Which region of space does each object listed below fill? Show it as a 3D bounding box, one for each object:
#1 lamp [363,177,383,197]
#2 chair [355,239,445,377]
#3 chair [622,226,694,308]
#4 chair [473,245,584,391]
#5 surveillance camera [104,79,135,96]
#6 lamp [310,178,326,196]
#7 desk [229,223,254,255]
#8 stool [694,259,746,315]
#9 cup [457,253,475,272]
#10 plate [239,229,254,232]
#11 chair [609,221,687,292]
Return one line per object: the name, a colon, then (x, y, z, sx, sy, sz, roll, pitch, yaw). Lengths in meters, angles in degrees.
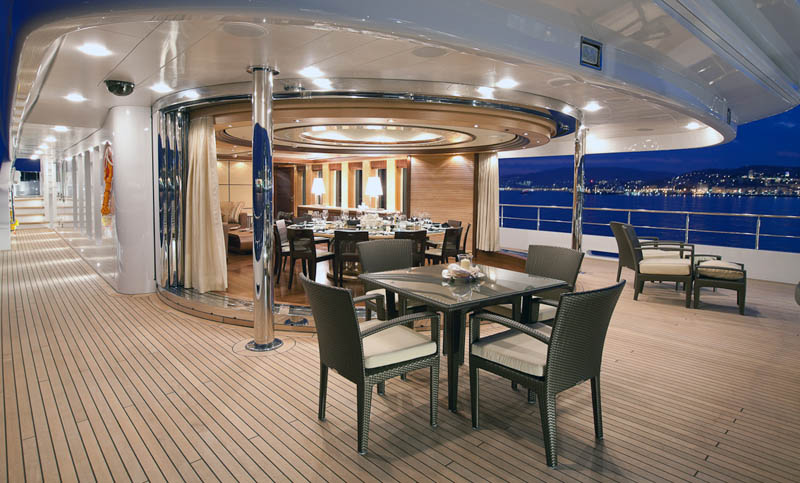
lamp: (-0.647, -1.434, 11.993, 0.592, 0.478, 0.550, -2, 9, 3)
chair: (-0.012, 0.606, 6.093, 1.181, 0.783, 0.763, -29, -28, 29)
chair: (4.360, 0.306, 7.925, 1.155, 1.132, 1.037, 1, 8, 15)
chair: (1.470, 0.725, 5.454, 1.113, 1.280, 1.032, -4, 7, -37)
surveillance camera: (-3.877, -2.145, 6.458, 0.248, 0.135, 0.230, 0, 3, -5)
lamp: (-2.551, -1.750, 14.673, 0.640, 0.558, 0.567, 0, 9, 9)
desk: (-3.920, -0.015, 11.406, 0.546, 0.449, 1.531, -3, 11, -16)
stool: (5.151, 0.588, 7.464, 0.838, 0.724, 1.057, 2, 5, 36)
cup: (0.700, 0.226, 5.030, 0.182, 0.177, 0.170, 2, -1, 0)
plate: (-3.822, -0.296, 11.517, 0.316, 0.068, 0.316, 0, 4, -14)
chair: (4.429, 0.303, 8.151, 1.264, 1.143, 1.095, 8, 14, 30)
